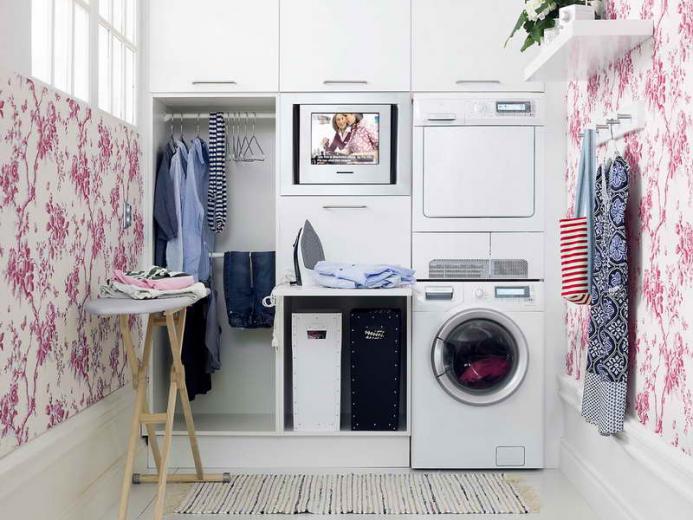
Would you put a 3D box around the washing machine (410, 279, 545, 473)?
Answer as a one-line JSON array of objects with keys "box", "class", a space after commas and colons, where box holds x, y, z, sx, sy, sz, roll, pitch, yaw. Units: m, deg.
[{"box": [0.628, 0.674, 3.857, 0.845, 1.511, 0.901, 0, -3, 0], "class": "washing machine"}]

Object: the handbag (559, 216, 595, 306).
[{"box": [1.113, -0.003, 2.948, 0.137, 0.400, 0.097, 1, -4, 16], "class": "handbag"}]
